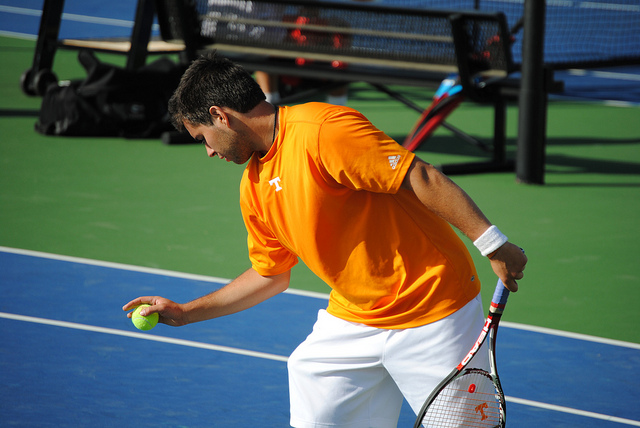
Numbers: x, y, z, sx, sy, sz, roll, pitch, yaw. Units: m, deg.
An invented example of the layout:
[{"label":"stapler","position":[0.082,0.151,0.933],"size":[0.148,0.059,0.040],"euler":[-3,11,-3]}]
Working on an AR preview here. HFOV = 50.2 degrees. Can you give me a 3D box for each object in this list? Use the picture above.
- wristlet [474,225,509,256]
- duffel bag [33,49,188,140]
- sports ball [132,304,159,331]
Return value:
[{"label":"wristlet","position":[1.000,0.167,4.087],"size":[0.168,0.125,0.175],"euler":[-46,0,-34]},{"label":"duffel bag","position":[-2.772,-1.611,9.134],"size":[1.804,1.128,0.538],"euler":[1,11,-27]},{"label":"sports ball","position":[-1.195,0.728,4.693],"size":[0.158,0.185,0.171],"euler":[-12,-13,-3]}]
